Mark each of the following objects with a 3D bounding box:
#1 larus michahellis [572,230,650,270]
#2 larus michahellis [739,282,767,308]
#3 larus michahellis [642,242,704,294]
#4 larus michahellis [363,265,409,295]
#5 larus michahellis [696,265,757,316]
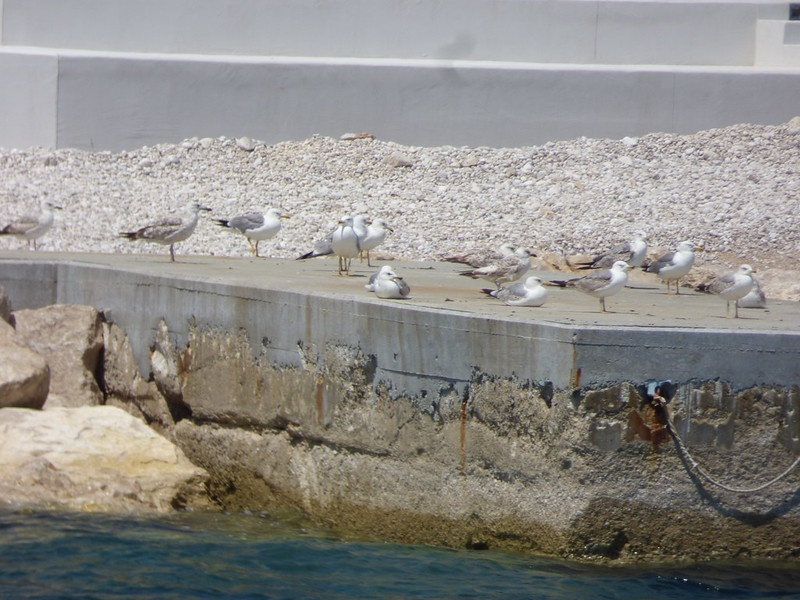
[{"bbox_3d":[3.996,-0.852,38.157,1.576,0.812,0.496,-7,22,15],"label":"larus michahellis"},{"bbox_3d":[6.136,-0.046,35.860,0.419,0.325,0.501,0,6,12],"label":"larus michahellis"},{"bbox_3d":[4.892,-0.592,36.921,0.638,0.913,1.282,3,0,-41],"label":"larus michahellis"},{"bbox_3d":[-0.186,-0.284,35.452,0.516,0.427,0.668,-1,5,-25],"label":"larus michahellis"},{"bbox_3d":[5.631,-0.192,35.226,0.627,0.874,1.142,1,5,-37],"label":"larus michahellis"}]
